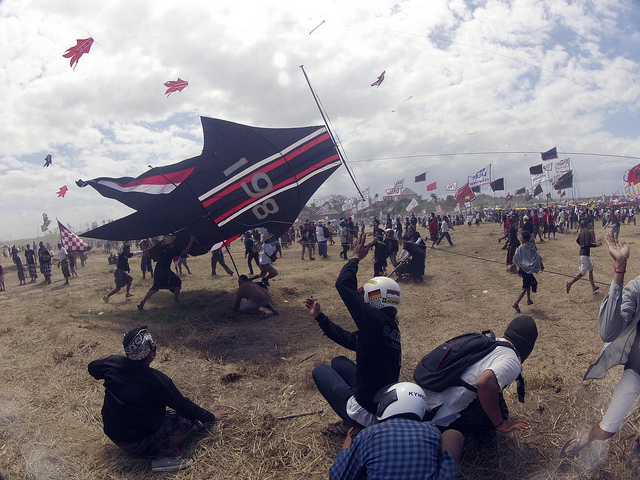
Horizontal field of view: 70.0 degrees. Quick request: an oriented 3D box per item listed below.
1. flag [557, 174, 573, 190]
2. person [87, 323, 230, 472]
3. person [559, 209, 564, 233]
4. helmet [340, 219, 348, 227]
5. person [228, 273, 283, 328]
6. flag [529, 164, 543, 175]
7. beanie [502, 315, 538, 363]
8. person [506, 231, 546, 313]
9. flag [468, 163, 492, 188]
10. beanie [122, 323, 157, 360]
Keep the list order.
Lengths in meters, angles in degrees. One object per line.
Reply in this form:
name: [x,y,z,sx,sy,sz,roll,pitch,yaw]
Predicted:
flag: [19.830,-4.678,37.184,1.079,1.093,1.554,-1,7,26]
person: [-2.408,2.388,6.802,1.492,1.296,0.860,15,23,25]
person: [14.779,-1.064,28.070,0.257,1.185,0.829,-1,8,27]
helmet: [1.130,-0.847,22.433,0.272,0.403,0.214,15,6,43]
person: [-1.710,1.616,11.524,1.418,0.614,1.048,32,34,35]
flag: [21.353,-6.901,45.395,1.041,0.723,0.748,2,9,44]
beanie: [2.701,1.316,6.169,0.414,0.596,0.249,-5,7,-3]
person: [5.188,0.764,11.486,0.690,1.872,1.224,-1,7,25]
flag: [14.162,-5.576,40.749,1.460,1.829,4.684,-3,7,14]
beanie: [-2.433,1.403,6.191,0.315,0.387,0.409,-11,6,29]
